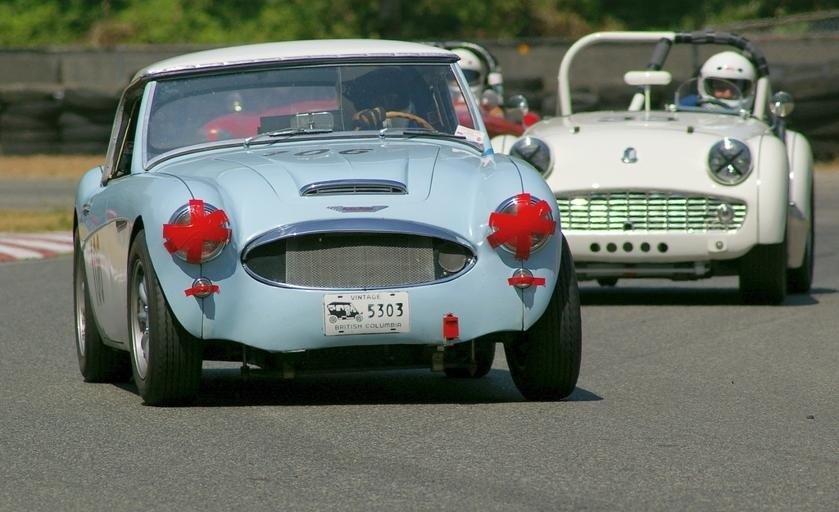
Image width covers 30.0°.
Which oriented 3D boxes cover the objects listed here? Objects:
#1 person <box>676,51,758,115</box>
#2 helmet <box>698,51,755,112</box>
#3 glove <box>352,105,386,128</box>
[{"bbox_3d":[3.008,-1.761,15.824,0.644,0.623,0.804,6,-6,6],"label":"person"},{"bbox_3d":[3.136,-1.800,15.989,0.503,0.475,0.606,2,5,9],"label":"helmet"},{"bbox_3d":[-0.370,-1.045,11.703,0.183,0.073,0.182,-7,-3,36],"label":"glove"}]
